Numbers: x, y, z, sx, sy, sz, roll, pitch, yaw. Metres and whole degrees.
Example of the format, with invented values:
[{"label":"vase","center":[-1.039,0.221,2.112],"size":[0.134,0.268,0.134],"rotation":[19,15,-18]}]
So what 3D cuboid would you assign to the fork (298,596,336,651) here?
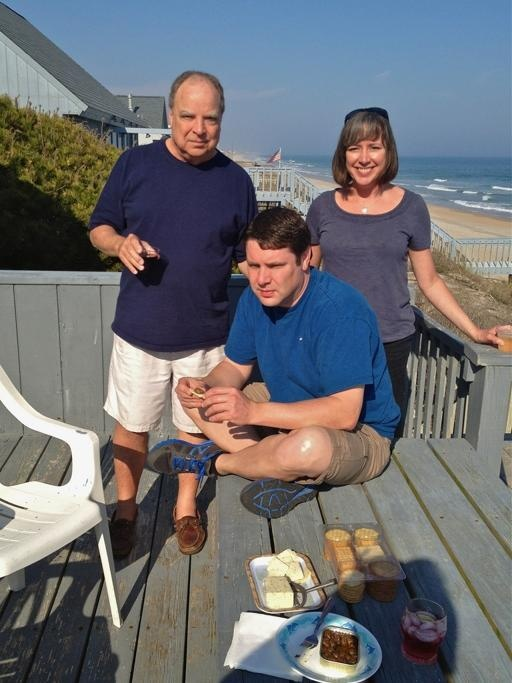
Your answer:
[{"label":"fork","center":[0.145,0.666,1.196],"size":[0.036,0.020,0.173],"rotation":[-20,5,29]}]

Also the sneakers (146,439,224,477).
[{"label":"sneakers","center":[-0.300,0.488,2.189],"size":[0.369,0.138,0.165],"rotation":[-2,19,1]}]

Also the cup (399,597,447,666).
[{"label":"cup","center":[0.371,0.635,1.122],"size":[0.098,0.121,0.105],"rotation":[-8,9,1]}]

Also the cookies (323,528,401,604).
[{"label":"cookies","center":[0.294,0.614,1.414],"size":[0.168,0.105,0.256],"rotation":[-8,9,-1]}]

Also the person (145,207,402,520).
[{"label":"person","center":[0.063,0.035,2.078],"size":[0.921,1.109,0.896],"rotation":[4,13,21]}]

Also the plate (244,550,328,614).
[{"label":"plate","center":[0.085,0.682,1.438],"size":[0.194,0.044,0.255],"rotation":[0,13,-8]}]
